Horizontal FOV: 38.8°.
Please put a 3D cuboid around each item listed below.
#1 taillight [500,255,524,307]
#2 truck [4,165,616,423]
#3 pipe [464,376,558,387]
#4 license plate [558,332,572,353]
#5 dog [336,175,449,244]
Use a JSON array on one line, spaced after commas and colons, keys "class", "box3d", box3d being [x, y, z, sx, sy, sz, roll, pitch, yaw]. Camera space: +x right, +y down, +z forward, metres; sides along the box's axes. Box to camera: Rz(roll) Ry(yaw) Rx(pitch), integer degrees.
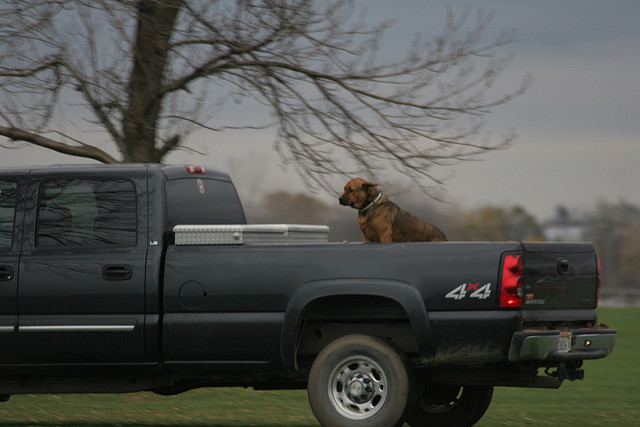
[{"class": "taillight", "box3d": [2.044, 0.721, 9.610, 0.235, 0.552, 0.051, -1, -1, 8]}, {"class": "truck", "box3d": [-0.242, 0.917, 10.753, 7.335, 1.977, 2.952, 0, -5, 13]}, {"class": "pipe", "box3d": [2.227, 1.838, 9.862, 0.712, 0.070, 0.242, -1, -11, -5]}, {"class": "license plate", "box3d": [2.636, 1.380, 9.672, 0.175, 0.216, 0.023, 0, -1, -26]}, {"class": "dog", "box3d": [1.158, 0.206, 13.738, 2.262, 1.068, 0.666, 11, -11, -33]}]
